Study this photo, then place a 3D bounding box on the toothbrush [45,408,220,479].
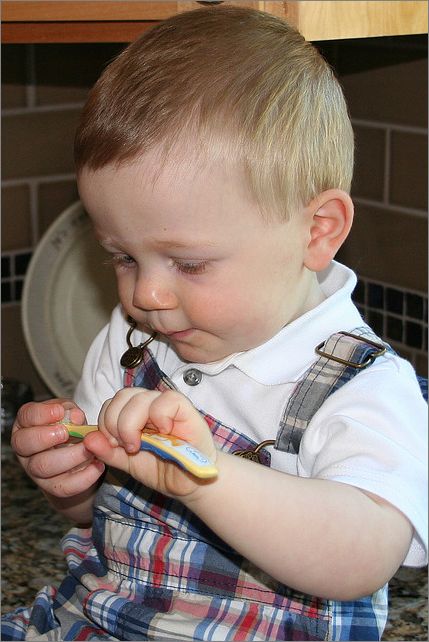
[{"bbox_3d":[-0.075,0.072,0.466,0.042,0.240,0.034,2,94,-30],"label":"toothbrush"}]
